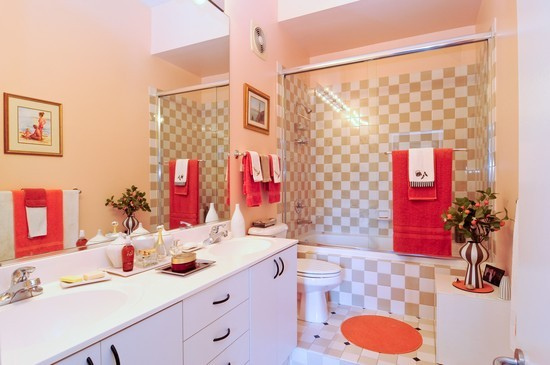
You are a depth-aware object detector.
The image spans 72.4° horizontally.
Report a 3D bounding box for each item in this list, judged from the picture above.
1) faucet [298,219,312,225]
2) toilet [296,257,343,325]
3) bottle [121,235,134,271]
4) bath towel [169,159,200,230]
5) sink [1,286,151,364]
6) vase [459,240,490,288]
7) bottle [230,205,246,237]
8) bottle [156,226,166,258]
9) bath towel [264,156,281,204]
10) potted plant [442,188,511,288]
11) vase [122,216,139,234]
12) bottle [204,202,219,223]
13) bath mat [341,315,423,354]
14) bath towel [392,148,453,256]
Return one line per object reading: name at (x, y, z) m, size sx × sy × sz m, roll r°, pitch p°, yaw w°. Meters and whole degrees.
faucet at (0.354, 0.477, 4.489) m, size 0.197 × 0.092 × 0.059 m, roll 4°, pitch -4°, yaw -18°
toilet at (0.348, 1.016, 3.445) m, size 0.517 × 0.450 × 0.378 m, roll 0°, pitch -5°, yaw 17°
bottle at (-0.899, 0.439, 2.306) m, size 0.072 × 0.188 × 0.134 m, roll -4°, pitch 12°, yaw -9°
bath towel at (-0.664, 0.077, 2.782) m, size 0.057 × 0.520 × 0.364 m, roll 2°, pitch 13°, yaw 22°
sink at (-0.994, 0.711, 1.902) m, size 0.591 × 0.192 × 0.443 m, roll -12°, pitch 15°, yaw -37°
vase at (1.547, 0.644, 2.933) m, size 0.208 × 0.372 × 0.184 m, roll 0°, pitch 12°, yaw 11°
bottle at (-0.302, 0.328, 3.104) m, size 0.103 × 0.259 × 0.122 m, roll 1°, pitch 12°, yaw 17°
bottle at (-0.760, 0.388, 2.502) m, size 0.062 × 0.193 × 0.175 m, roll -6°, pitch 12°, yaw -18°
bath towel at (-0.014, 0.004, 3.543) m, size 0.085 × 0.364 × 0.254 m, roll 5°, pitch 7°, yaw 39°
potted plant at (1.554, 0.462, 2.958) m, size 0.456 × 0.762 × 0.381 m, roll -4°, pitch -5°, yaw 31°
vase at (-0.936, 0.282, 2.442) m, size 0.090 × 0.117 × 0.101 m, roll 3°, pitch -2°, yaw 6°
bottle at (-0.513, 0.247, 3.019) m, size 0.030 × 0.166 × 0.154 m, roll 4°, pitch 14°, yaw 31°
bath mat at (0.875, 1.268, 3.140) m, size 0.642 × 0.027 × 0.533 m, roll 6°, pitch 15°, yaw 36°
bath towel at (1.389, 0.171, 3.591) m, size 0.562 × 1.045 × 0.108 m, roll 0°, pitch -1°, yaw 13°
